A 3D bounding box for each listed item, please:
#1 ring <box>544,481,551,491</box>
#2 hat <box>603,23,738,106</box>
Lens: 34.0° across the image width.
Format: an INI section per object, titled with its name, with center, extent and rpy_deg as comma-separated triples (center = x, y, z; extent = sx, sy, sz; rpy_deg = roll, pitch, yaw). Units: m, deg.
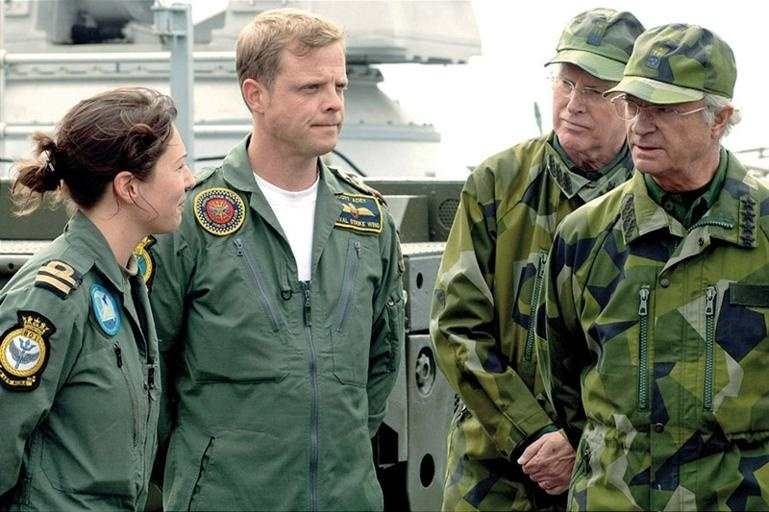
[ring]
center = 0.738, 1.056, 5.722
extent = 0.027, 0.037, 0.013
rpy_deg = 0, 7, 12
[hat]
center = 1.247, -0.847, 5.470
extent = 0.647, 0.318, 0.485
rpy_deg = -7, 17, -30
